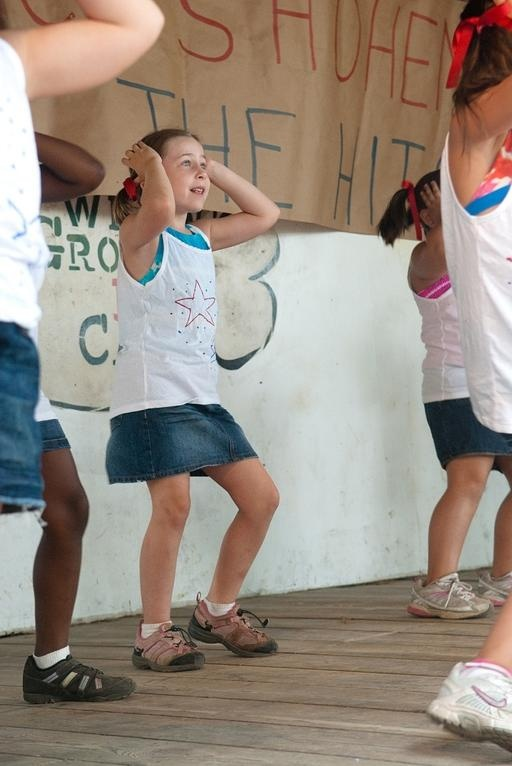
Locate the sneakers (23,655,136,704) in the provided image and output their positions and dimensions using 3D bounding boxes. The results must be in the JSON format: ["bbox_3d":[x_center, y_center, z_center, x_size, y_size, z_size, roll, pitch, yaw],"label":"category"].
[{"bbox_3d":[-0.348,0.572,1.402,0.225,0.087,0.093,-1,88,-2],"label":"sneakers"}]
